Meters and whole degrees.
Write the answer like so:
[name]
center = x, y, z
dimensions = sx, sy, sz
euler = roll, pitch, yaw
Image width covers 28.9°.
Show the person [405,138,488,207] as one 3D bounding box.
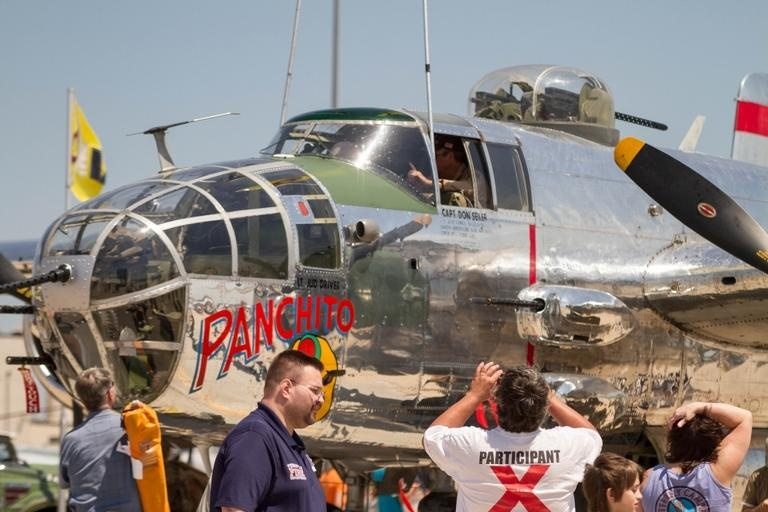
[person]
center = 1.048, -0.981, 18.868
dimensions = 0.601, 0.703, 0.839
euler = -6, 18, -18
